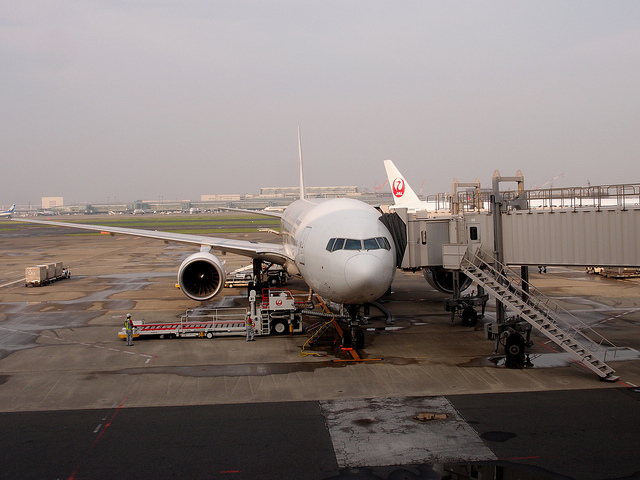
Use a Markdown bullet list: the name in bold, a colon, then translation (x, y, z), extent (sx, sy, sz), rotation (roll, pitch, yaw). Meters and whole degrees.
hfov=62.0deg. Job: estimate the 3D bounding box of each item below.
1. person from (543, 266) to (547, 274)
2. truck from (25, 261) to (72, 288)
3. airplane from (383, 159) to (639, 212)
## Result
- **person**: translation (18.478, 2.423, 43.846), extent (0.298, 0.631, 2.469), rotation (3, 10, 23)
- **truck**: translation (-20.819, 2.458, 40.701), extent (1.332, 1.153, 5.113), rotation (1, 7, 1)
- **airplane**: translation (9.319, -2.073, 26.588), extent (11.344, 2.626, 9.388), rotation (-1, 4, 9)
